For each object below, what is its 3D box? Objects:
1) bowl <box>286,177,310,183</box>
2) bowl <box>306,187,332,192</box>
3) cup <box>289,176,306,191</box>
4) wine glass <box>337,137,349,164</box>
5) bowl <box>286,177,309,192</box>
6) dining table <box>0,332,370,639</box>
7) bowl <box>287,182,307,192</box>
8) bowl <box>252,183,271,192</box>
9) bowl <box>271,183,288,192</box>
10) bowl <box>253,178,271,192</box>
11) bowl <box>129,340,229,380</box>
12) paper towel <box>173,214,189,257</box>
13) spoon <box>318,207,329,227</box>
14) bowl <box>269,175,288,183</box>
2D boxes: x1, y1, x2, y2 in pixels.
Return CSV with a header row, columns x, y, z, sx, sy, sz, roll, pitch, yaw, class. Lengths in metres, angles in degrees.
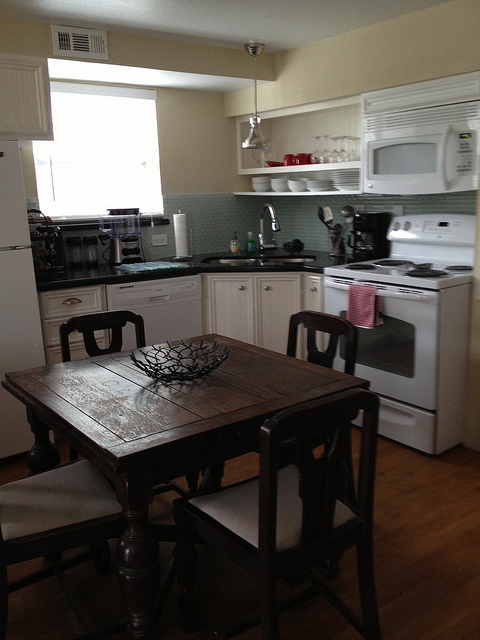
x,y,z,sx,sy,sz,roll,pitch,yaw,class
0.440,-1.096,3.813,0.111,0.028,0.116,-2,8,0,bowl
0.585,-0.972,3.641,0.180,0.043,0.099,2,8,27,bowl
0.452,-1.071,3.824,0.126,0.123,0.187,-1,7,6,cup
0.734,-1.193,3.462,0.079,0.216,0.319,0,7,11,wine glass
0.436,-1.051,3.817,0.129,0.074,0.129,-1,13,0,bowl
-0.192,0.470,1.664,0.900,0.684,0.959,-7,9,-38,dining table
0.440,-1.019,3.765,0.083,0.047,0.083,-2,14,0,bowl
0.187,-1.119,4.130,0.147,0.074,0.104,-1,7,5,bowl
0.317,-1.058,3.920,0.078,0.044,0.078,-1,13,0,bowl
0.189,-1.129,4.082,0.108,0.075,0.106,-1,19,0,bowl
-0.240,0.160,1.714,0.307,0.090,0.307,3,11,-1,bowl
-0.467,-0.665,3.845,0.100,0.336,0.157,-2,7,-7,paper towel
0.624,-0.774,3.692,0.046,0.150,0.060,-15,0,-14,spoon
0.322,-1.169,4.041,0.168,0.039,0.158,-3,11,1,bowl
